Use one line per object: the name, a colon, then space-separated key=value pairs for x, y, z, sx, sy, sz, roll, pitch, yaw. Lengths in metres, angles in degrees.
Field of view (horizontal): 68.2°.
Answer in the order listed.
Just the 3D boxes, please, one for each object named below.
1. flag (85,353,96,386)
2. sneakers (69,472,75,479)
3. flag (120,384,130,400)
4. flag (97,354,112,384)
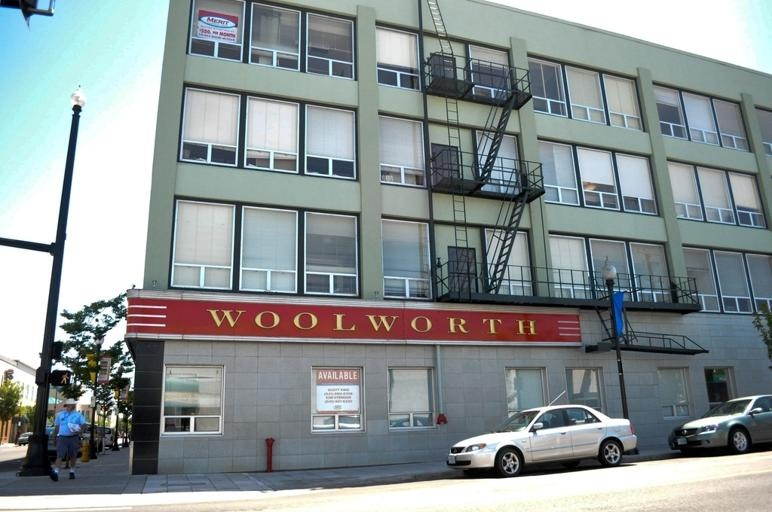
flag: x=-13.008 y=4.964 z=25.435 sx=0.353 sy=1.301 sz=1.589 roll=4 pitch=-16 yaw=-25
sneakers: x=-10.078 y=7.102 z=18.511 sx=0.165 sy=0.183 sz=0.462 roll=3 pitch=-17 yaw=-19
flag: x=-18.985 y=9.882 z=41.766 sx=0.570 sy=1.259 sz=11.668 roll=4 pitch=-15 yaw=-24
flag: x=-12.727 y=5.076 z=25.920 sx=0.480 sy=1.245 sz=1.909 roll=5 pitch=-16 yaw=-27
